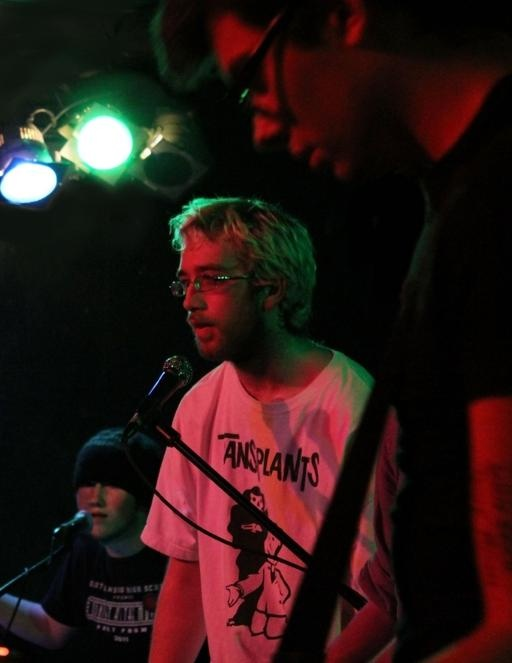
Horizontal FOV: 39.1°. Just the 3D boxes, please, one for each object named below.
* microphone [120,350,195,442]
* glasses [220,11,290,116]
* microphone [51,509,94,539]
[{"bbox_3d":[-0.236,0.165,1.875,0.103,0.297,0.101,21,-15,40],"label":"microphone"},{"bbox_3d":[-0.002,-0.415,1.148,0.178,0.047,0.022,-56,-13,22],"label":"glasses"},{"bbox_3d":[-0.609,0.652,2.419,0.089,0.111,0.253,7,-24,-6],"label":"microphone"}]
